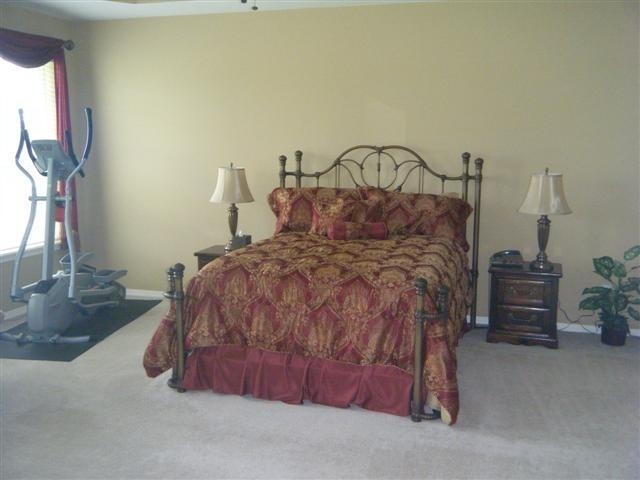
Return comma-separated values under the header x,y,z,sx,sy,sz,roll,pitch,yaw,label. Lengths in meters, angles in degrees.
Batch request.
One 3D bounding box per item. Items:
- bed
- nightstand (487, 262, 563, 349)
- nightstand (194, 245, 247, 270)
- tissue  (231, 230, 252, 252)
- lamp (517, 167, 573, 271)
x,y,z,sx,sy,sz,roll,pitch,yaw,label
0.094,0.121,4.899,2.427,1.941,2.141,4,9,14,bed
1.799,0.486,5.359,0.795,1.031,0.672,1,5,17,nightstand
-1.112,0.152,5.666,0.285,0.302,0.272,-1,6,-3,nightstand
-0.810,0.016,5.737,0.182,0.149,0.187,-1,0,1,tissue 
2.065,-0.197,5.151,0.426,0.897,0.510,5,9,22,lamp
